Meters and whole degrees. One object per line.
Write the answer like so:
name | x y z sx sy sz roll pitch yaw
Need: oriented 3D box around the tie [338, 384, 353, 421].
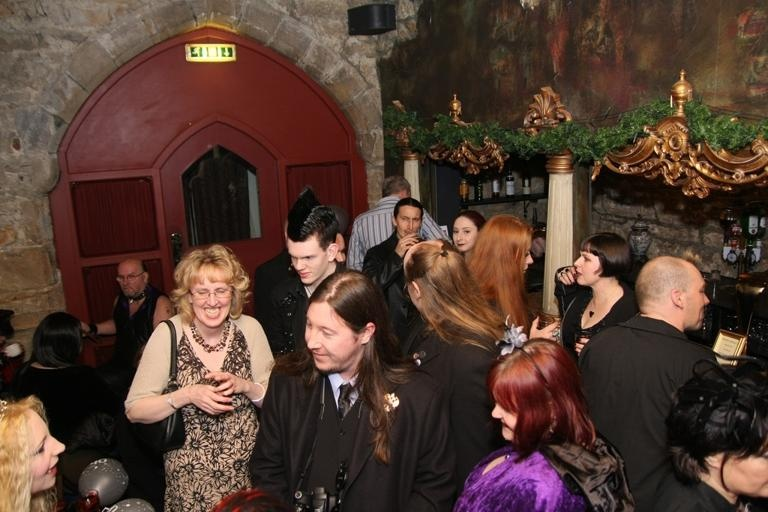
tie | -0.222 0.829 3.355 0.088 0.190 0.040 -2 5 -1

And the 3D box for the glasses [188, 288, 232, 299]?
glasses | -1.141 0.240 3.831 0.245 0.073 0.075 -4 5 -17

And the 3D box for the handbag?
handbag | -1.475 1.052 3.785 0.501 0.592 0.257 -7 -6 36
